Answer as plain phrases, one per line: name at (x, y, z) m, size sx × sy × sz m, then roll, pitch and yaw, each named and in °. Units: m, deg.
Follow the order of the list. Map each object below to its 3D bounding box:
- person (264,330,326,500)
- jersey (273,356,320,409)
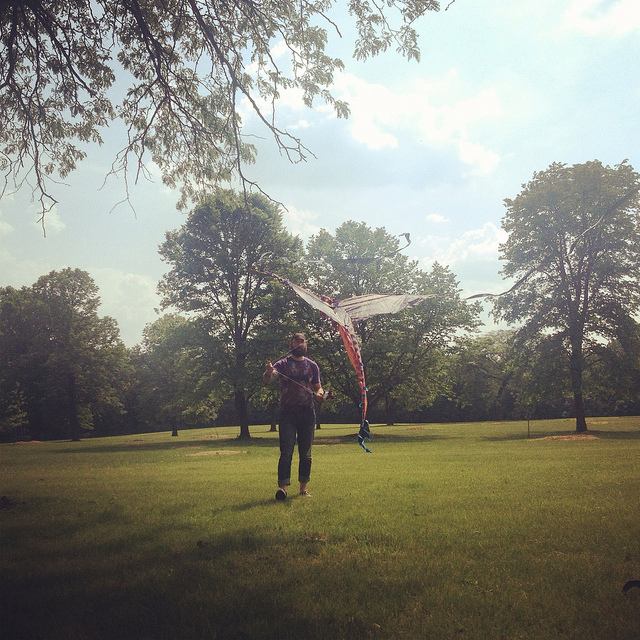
person at (-0.400, 1.550, 12.733) m, size 0.684 × 2.664 × 1.258 m, roll 0°, pitch 1°, yaw 25°
jersey at (-0.361, 1.060, 12.983) m, size 0.896 × 0.953 × 0.513 m, roll 1°, pitch -7°, yaw -24°
